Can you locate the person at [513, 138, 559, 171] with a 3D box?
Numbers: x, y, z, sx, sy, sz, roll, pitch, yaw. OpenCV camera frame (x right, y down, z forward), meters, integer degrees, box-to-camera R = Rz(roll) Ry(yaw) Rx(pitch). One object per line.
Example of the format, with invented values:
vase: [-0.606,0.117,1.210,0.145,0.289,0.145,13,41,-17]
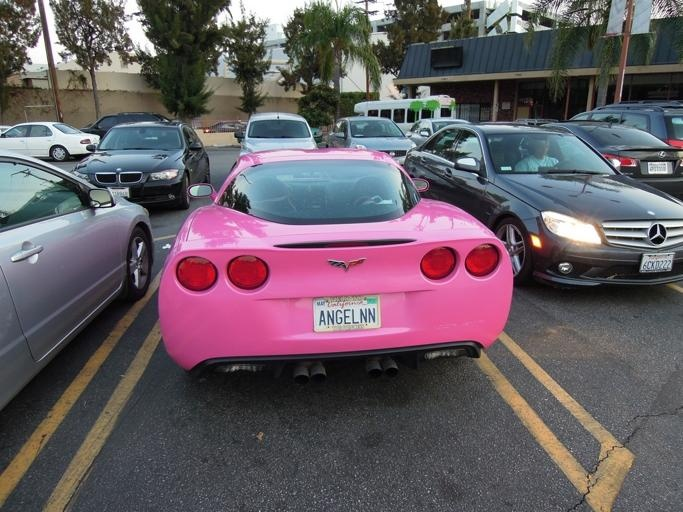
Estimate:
person: [2.934,-1.528,5.840,0.733,0.553,0.359,-9,19,-8]
